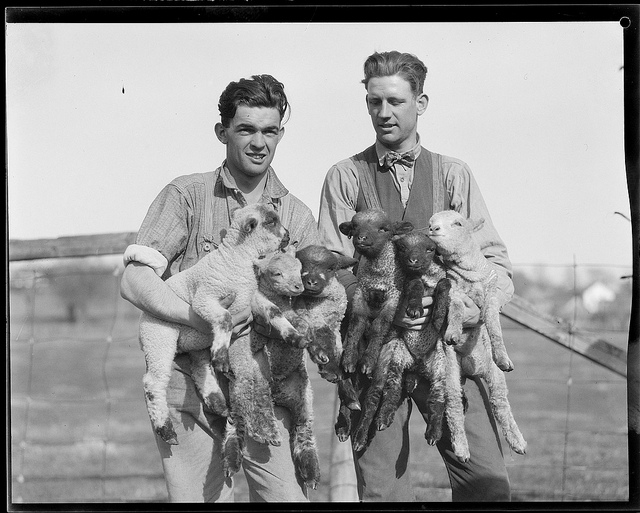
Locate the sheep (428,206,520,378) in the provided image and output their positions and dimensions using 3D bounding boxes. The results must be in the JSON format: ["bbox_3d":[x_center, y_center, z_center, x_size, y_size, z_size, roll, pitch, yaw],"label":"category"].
[{"bbox_3d":[1.130,0.471,10.055,0.469,1.567,0.803,-12,14,13],"label":"sheep"}]

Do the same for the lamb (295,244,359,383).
[{"bbox_3d":[0.039,0.416,9.814,0.394,1.089,0.474,1,1,-4],"label":"lamb"}]

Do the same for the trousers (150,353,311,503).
[{"bbox_3d":[-0.772,1.510,9.801,0.832,1.439,0.380,-3,10,4],"label":"trousers"}]

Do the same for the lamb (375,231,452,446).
[{"bbox_3d":[0.777,0.607,10.142,0.600,1.660,0.711,4,4,19],"label":"lamb"}]

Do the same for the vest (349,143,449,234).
[{"bbox_3d":[0.607,-0.485,10.428,1.019,1.125,0.618,0,-5,-4],"label":"vest"}]
